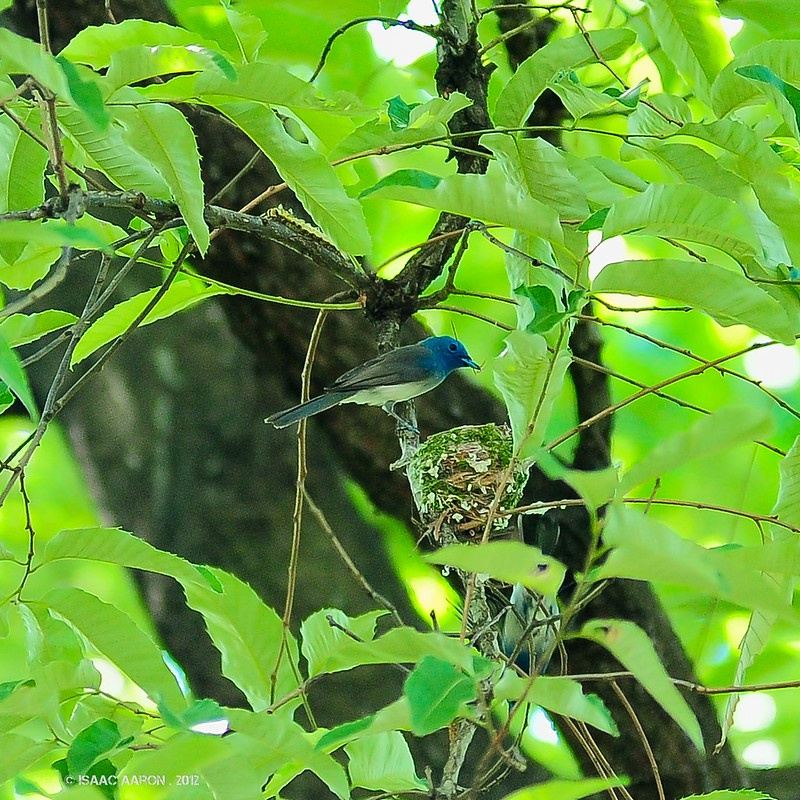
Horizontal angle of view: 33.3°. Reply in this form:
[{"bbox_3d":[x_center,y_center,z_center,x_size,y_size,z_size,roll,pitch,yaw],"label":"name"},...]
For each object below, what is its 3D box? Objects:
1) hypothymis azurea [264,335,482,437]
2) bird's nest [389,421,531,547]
[{"bbox_3d":[-0.081,-0.075,4.503,0.736,0.278,0.206,-2,-3,-13],"label":"hypothymis azurea"},{"bbox_3d":[0.189,0.221,4.329,0.380,0.332,0.318,-42,-35,-15],"label":"bird's nest"}]
